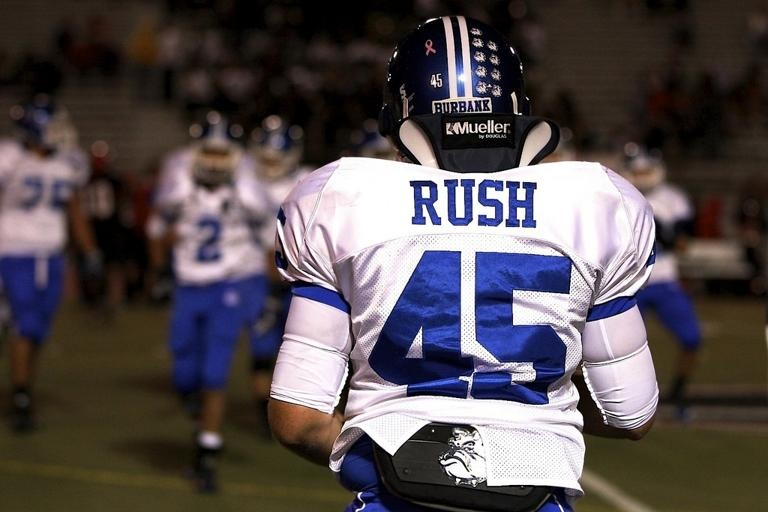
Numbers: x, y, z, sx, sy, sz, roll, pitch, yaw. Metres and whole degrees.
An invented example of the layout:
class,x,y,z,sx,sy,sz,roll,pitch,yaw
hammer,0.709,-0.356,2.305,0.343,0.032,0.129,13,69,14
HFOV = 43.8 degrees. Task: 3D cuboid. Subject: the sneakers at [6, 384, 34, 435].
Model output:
class,x,y,z,sx,sy,sz,roll,pitch,yaw
sneakers,-2.114,0.886,5.605,0.146,0.067,0.275,5,51,-33
